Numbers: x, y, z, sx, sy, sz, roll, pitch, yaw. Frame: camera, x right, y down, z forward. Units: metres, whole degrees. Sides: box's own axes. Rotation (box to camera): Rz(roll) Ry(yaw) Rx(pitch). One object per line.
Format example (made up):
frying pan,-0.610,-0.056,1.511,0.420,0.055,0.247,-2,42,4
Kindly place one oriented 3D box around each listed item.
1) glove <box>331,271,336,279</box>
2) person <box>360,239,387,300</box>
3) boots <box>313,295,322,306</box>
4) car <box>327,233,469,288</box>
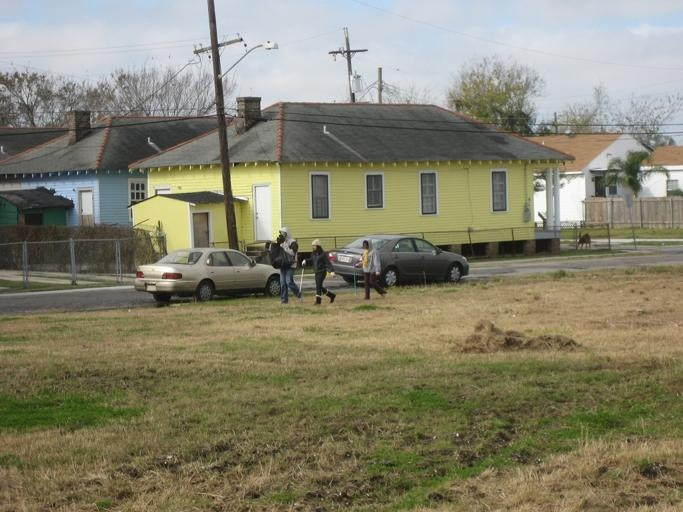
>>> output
glove,-0.193,0.498,32.097,0.118,0.134,0.456,-1,-3,-11
person,0.867,0.340,29.958,0.550,1.458,1.112,-1,1,2
boots,-0.548,1.074,28.612,0.206,0.242,0.151,2,2,-6
car,1.837,0.134,33.622,3.462,1.169,1.565,-5,4,-37
